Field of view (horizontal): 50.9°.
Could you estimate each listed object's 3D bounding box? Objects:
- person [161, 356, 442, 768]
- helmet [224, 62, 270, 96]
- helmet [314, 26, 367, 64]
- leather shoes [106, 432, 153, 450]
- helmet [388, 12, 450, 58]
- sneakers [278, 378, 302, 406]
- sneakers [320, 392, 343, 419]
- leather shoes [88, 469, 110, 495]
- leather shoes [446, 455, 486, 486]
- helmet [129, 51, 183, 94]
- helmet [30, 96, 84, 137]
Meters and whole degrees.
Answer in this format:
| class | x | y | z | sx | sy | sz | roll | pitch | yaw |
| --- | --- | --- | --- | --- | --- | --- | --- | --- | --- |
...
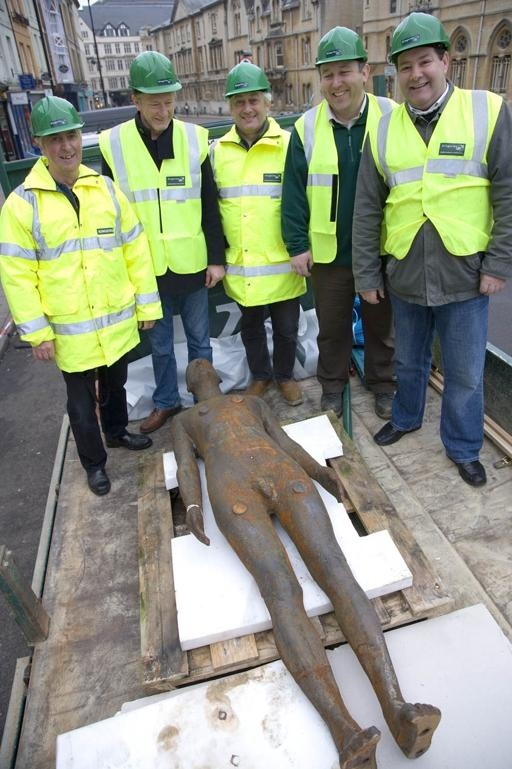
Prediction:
| class | x | y | z | sx | sy | sz | roll | pitch | yaw |
| --- | --- | --- | --- | --- | --- | --- | --- | --- | --- |
| person | 0.087 | 0.482 | 2.125 | 0.536 | 0.382 | 1.621 | 0 | 27 | -24 |
| helmet | -0.054 | -1.818 | 3.154 | 0.196 | 0.142 | 0.256 | -3 | 41 | 4 |
| helmet | 0.463 | -1.781 | 2.872 | 0.199 | 0.151 | 0.269 | 2 | 32 | 19 |
| leather shoes | -0.865 | 0.388 | 3.698 | 0.267 | 0.110 | 0.143 | -1 | 28 | 10 |
| helmet | 0.732 | -1.574 | 2.422 | 0.247 | 0.189 | 0.270 | 11 | 33 | 27 |
| sneakers | 0.258 | 0.037 | 3.959 | 0.096 | 0.099 | 0.244 | -20 | 34 | -6 |
| sneakers | 0.522 | 0.135 | 3.683 | 0.080 | 0.167 | 0.247 | -12 | 42 | 7 |
| leather shoes | -0.950 | 0.602 | 3.272 | 0.100 | 0.079 | 0.172 | -9 | 39 | -21 |
| leather shoes | 1.200 | 0.479 | 3.030 | 0.073 | 0.082 | 0.201 | -21 | 34 | -5 |
| helmet | -0.577 | -1.718 | 2.974 | 0.264 | 0.212 | 0.291 | -10 | 29 | -8 |
| helmet | -0.974 | -1.294 | 2.592 | 0.235 | 0.170 | 0.268 | -15 | 30 | -16 |
